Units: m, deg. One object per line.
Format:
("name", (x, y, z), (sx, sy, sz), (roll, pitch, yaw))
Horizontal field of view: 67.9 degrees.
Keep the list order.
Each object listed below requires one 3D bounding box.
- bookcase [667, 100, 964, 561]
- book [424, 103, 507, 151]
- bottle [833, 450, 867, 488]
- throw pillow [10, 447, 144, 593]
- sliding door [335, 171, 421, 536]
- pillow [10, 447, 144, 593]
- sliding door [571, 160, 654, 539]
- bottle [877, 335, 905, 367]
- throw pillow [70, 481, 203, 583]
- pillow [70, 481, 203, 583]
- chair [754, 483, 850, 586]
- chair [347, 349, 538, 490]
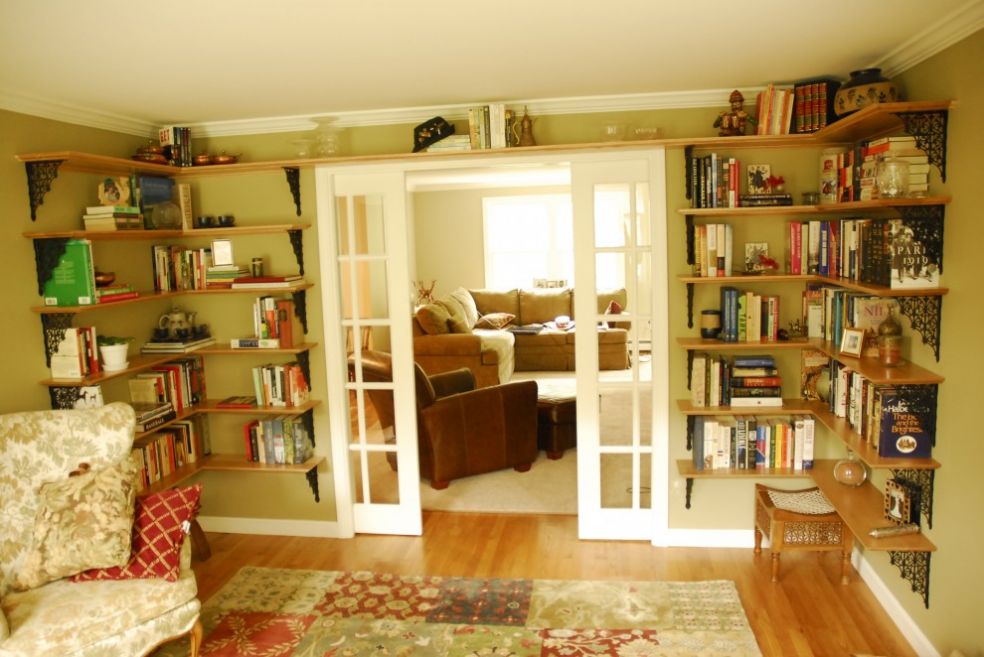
("bookcase", (2.038, 0.106, 4.579), (0.851, 2.743, 1.680), (-9, 7, -41))
("book", (-0.057, -1.371, 5.153), (0.310, 0.359, 0.399), (-1, 8, 9))
("bottle", (2.250, 0.880, 4.652), (0.192, 0.230, 0.194), (6, 13, 44))
("throw pillow", (-2.324, 1.092, 4.024), (0.630, 0.603, 0.295), (-5, 5, -12))
("sliding door", (-0.921, 0.226, 5.467), (0.746, 2.679, 0.079), (-1, 5, 22))
("pillow", (-2.325, 1.092, 4.032), (0.630, 0.603, 0.302), (-5, 5, -11))
("sliding door", (0.941, 0.237, 5.097), (0.774, 2.836, 0.068), (6, 15, 37))
("bottle", (2.263, 0.126, 4.149), (0.113, 0.163, 0.148), (-2, 5, 24))
("throw pillow", (-1.903, 1.152, 4.095), (0.504, 0.451, 0.155), (-13, -19, 26))
("pillow", (-1.903, 1.139, 4.097), (0.504, 0.451, 0.155), (-13, -19, 26))
("chair", (1.988, 1.240, 4.814), (0.565, 0.556, 0.731), (-1, 5, 7))
("chair", (-0.523, 0.697, 6.587), (1.512, 1.127, 1.075), (-8, 10, -30))
